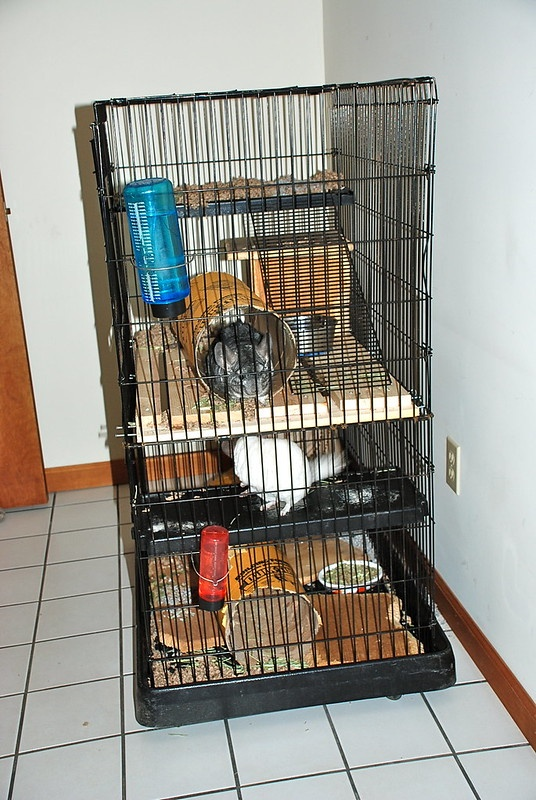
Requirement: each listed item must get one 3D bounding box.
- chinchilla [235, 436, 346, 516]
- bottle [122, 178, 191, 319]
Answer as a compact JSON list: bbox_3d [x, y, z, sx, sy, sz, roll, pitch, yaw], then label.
[{"bbox_3d":[0.051,0.134,1.315,0.220,0.168,0.135,-8,14,-1],"label":"chinchilla"},{"bbox_3d":[-0.165,-0.224,0.938,0.084,0.206,0.098,-4,10,-4],"label":"bottle"}]
